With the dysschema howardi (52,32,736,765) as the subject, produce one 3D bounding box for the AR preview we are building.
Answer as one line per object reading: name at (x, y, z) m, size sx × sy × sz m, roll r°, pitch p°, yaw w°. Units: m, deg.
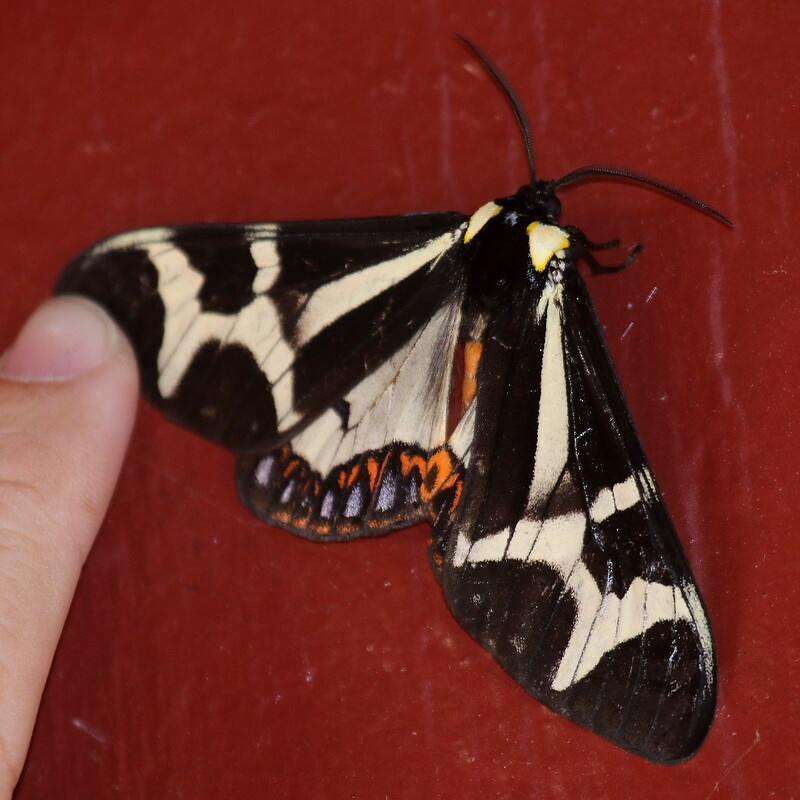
dysschema howardi at (0.048, -0.001, 1.562) m, size 1.087 × 0.166 × 0.613 m, roll 39°, pitch 85°, yaw 5°
